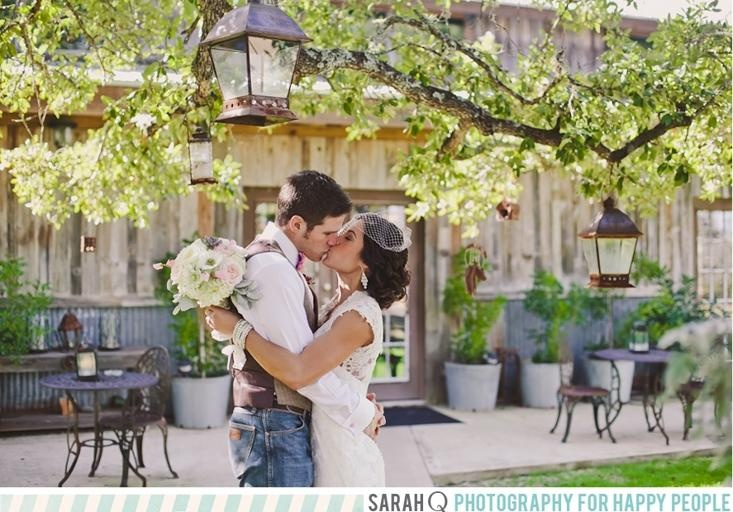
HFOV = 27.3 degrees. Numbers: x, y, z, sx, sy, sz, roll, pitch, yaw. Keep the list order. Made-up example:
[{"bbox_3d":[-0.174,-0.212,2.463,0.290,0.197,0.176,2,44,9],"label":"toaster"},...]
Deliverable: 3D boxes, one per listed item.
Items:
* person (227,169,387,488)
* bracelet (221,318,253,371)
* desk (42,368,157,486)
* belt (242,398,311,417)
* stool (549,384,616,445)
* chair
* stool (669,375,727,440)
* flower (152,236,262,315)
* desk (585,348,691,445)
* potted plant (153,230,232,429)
[{"bbox_3d":[-0.552,0.544,11.379,1.009,2.179,0.352,-1,0,-6],"label":"person"},{"bbox_3d":[-0.972,0.661,11.298,0.186,0.340,0.324,4,-24,-5],"label":"bracelet"},{"bbox_3d":[-2.402,1.415,13.459,0.919,1.188,0.809,-3,-6,33],"label":"desk"},{"bbox_3d":[-0.712,1.137,11.358,0.565,0.103,0.101,-1,0,-1],"label":"belt"},{"bbox_3d":[2.093,1.473,14.358,0.503,0.545,0.479,-3,8,-35],"label":"stool"},{"bbox_3d":[-2.049,1.419,13.752,0.562,1.138,0.516,7,6,2],"label":"chair"},{"bbox_3d":[3.069,1.400,13.953,0.342,0.517,0.358,0,7,-19],"label":"stool"},{"bbox_3d":[-1.168,0.127,11.285,0.674,0.506,0.217,-1,0,-4],"label":"flower"},{"bbox_3d":[2.628,1.327,14.446,0.796,0.879,0.897,-1,0,8],"label":"desk"},{"bbox_3d":[-1.724,0.910,15.032,0.680,1.724,0.938,-5,-8,9],"label":"potted plant"}]
